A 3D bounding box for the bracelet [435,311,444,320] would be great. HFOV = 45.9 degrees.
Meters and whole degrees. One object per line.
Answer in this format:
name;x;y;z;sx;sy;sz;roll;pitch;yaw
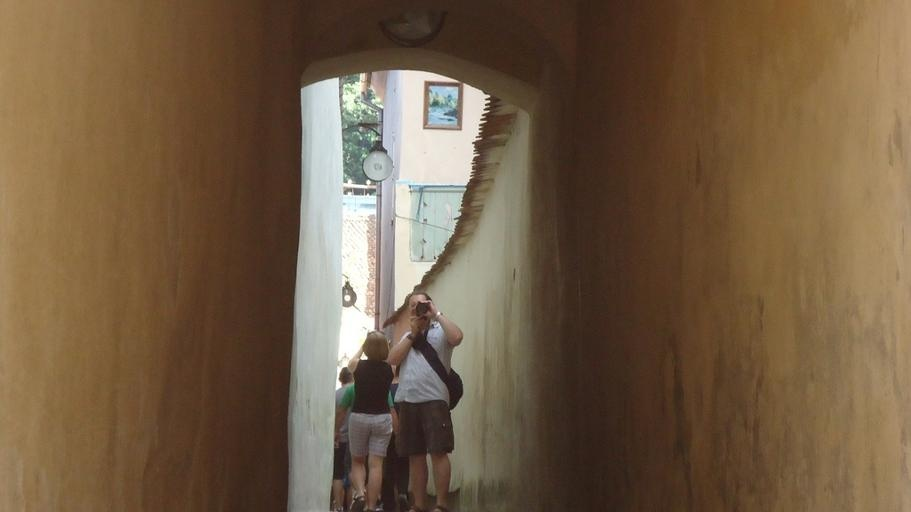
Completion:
bracelet;-0.078;0.286;5.158;0.034;0.010;0.038;28;21;-3
